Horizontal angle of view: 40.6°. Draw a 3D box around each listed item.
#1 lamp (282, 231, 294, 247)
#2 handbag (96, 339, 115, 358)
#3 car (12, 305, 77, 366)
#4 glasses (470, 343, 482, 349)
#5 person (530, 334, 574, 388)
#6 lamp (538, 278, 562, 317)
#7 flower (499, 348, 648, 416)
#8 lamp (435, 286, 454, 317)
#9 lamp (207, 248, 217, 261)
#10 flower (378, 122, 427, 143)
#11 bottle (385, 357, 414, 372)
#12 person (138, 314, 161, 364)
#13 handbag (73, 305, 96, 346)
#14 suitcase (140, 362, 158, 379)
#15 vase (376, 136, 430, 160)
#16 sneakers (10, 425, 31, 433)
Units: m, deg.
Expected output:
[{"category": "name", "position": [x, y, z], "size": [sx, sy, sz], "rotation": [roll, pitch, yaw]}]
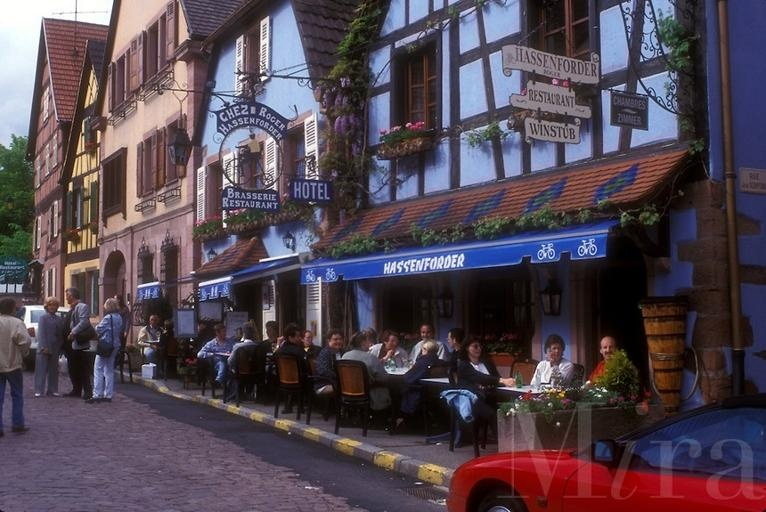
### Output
[{"category": "lamp", "position": [-2.252, -0.366, 24.686], "size": [0.185, 0.424, 0.473], "rotation": [4, -9, -23]}, {"category": "handbag", "position": [-5.635, 1.876, 20.854], "size": [0.346, 0.362, 0.263], "rotation": [4, 1, -12]}, {"category": "car", "position": [-9.448, 2.222, 28.384], "size": [1.587, 1.351, 3.785], "rotation": [1, -2, -17]}, {"category": "glasses", "position": [1.538, 1.468, 16.926], "size": [0.109, 0.042, 0.117], "rotation": [6, -31, -8]}, {"category": "person", "position": [2.813, 1.873, 16.921], "size": [0.553, 1.012, 0.622], "rotation": [7, -3, -14]}, {"category": "lamp", "position": [3.136, 0.778, 18.923], "size": [0.574, 0.692, 0.625], "rotation": [3, -7, -11]}, {"category": "flower", "position": [2.900, 1.970, 15.111], "size": [1.494, 0.733, 1.042], "rotation": [-8, -3, -6]}, {"category": "lamp", "position": [1.252, 0.934, 20.756], "size": [0.425, 0.597, 0.167], "rotation": [-7, -11, 42]}, {"category": "lamp", "position": [-4.767, -0.028, 28.602], "size": [0.296, 0.440, 0.305], "rotation": [1, 11, -10]}, {"category": "flower", "position": [0.443, -2.490, 21.046], "size": [0.742, 0.319, 0.478], "rotation": [-20, 25, -12]}, {"category": "bottle", "position": [0.289, 2.057, 19.537], "size": [0.279, 0.301, 0.284], "rotation": [-1, 3, -21]}, {"category": "person", "position": [-5.998, 2.235, 26.877], "size": [0.728, 1.498, 0.769], "rotation": [1, 8, -27]}, {"category": "handbag", "position": [-6.333, 1.538, 21.758], "size": [0.424, 1.021, 0.719], "rotation": [8, -15, -15]}, {"category": "suitcase", "position": [-6.008, 2.909, 26.231], "size": [0.511, 0.554, 0.294], "rotation": [1, 2, 21]}, {"category": "vase", "position": [0.459, -2.192, 21.127], "size": [0.366, 0.324, 1.476], "rotation": [7, -12, -38]}, {"category": "sneakers", "position": [-6.063, 2.865, 17.202], "size": [0.260, 0.119, 0.103], "rotation": [0, 1, -27]}]
